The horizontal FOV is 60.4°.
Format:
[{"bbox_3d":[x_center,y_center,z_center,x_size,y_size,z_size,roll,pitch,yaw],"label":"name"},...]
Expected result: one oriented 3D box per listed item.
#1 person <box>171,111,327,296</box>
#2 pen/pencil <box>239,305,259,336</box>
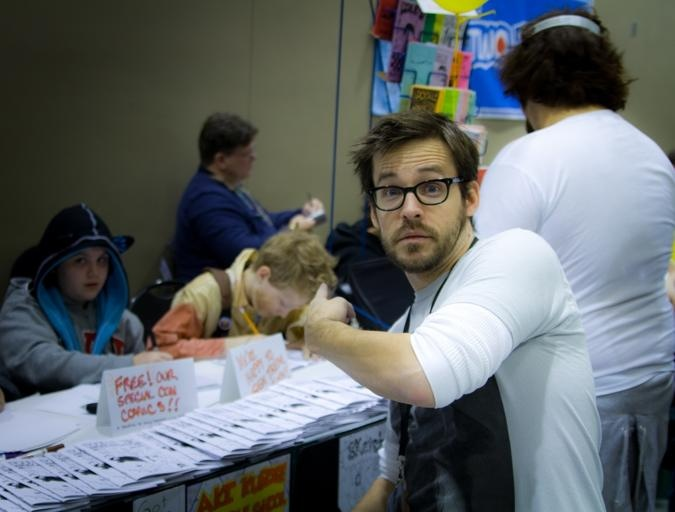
[{"bbox_3d":[-0.438,-0.280,2.298,0.560,0.879,0.411,-3,30,-19],"label":"person"},{"bbox_3d":[-0.366,0.261,2.373,0.020,0.133,0.022,-16,25,34],"label":"pen/pencil"}]
